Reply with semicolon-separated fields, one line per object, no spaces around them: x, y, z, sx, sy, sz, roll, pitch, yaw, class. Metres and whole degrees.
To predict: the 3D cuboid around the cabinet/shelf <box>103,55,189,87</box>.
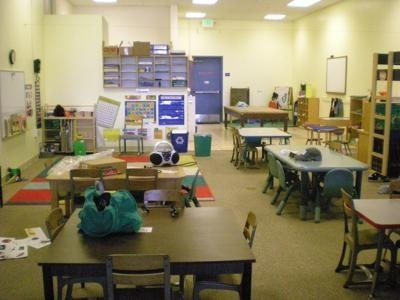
-1.698;-2.375;10.470;2.486;1.004;0.531;-4;11;-15;cabinet/shelf

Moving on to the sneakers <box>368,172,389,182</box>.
3.913;0.607;7.570;0.413;0.172;0.151;-1;9;12;sneakers

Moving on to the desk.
1.855;-1.221;11.595;1.689;1.014;4.619;2;7;-1;desk

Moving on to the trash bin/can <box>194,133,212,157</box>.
0.065;-0.139;9.602;0.591;0.646;0.537;0;3;-5;trash bin/can

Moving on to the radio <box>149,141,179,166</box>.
-0.583;0.059;5.507;0.449;0.390;0.182;-3;11;-9;radio

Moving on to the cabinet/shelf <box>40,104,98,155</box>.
-3.847;-0.546;9.835;1.499;1.461;0.584;2;12;-7;cabinet/shelf

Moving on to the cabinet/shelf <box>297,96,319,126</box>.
4.482;-1.642;14.315;0.720;1.430;1.371;2;9;1;cabinet/shelf

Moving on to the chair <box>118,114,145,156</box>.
-2.078;-0.371;10.307;0.600;1.030;0.589;0;10;-11;chair
